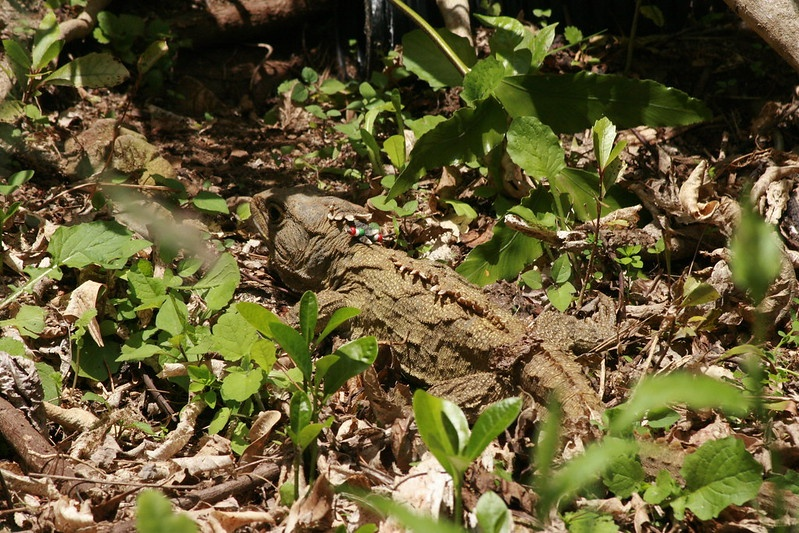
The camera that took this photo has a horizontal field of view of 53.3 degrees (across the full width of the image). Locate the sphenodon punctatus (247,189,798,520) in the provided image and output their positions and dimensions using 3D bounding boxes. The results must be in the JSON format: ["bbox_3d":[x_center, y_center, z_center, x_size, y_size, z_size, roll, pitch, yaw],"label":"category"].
[{"bbox_3d":[0.101,0.300,5.495,2.887,0.473,0.809,31,65,27],"label":"sphenodon punctatus"}]

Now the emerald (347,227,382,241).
[{"bbox_3d":[-0.245,-0.253,5.838,0.171,0.108,0.064,14,96,6],"label":"emerald"}]
